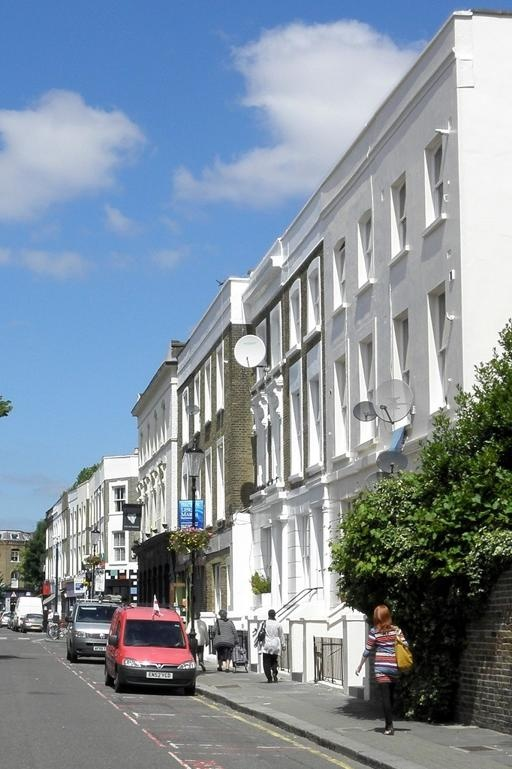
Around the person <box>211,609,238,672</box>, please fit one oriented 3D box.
[{"bbox_3d":[-0.696,5.839,25.392,0.553,1.312,2.168,-2,-16,-2],"label":"person"}]

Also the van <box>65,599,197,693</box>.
[{"bbox_3d":[-1.930,4.800,20.242,1.543,1.743,2.379,-1,-15,-8],"label":"van"}]

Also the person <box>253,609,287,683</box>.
[{"bbox_3d":[0.271,4.980,21.465,0.459,1.524,0.410,3,15,10],"label":"person"}]

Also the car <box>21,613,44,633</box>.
[{"bbox_3d":[-16.498,17.501,82.285,1.539,1.205,1.989,1,-16,-16],"label":"car"}]

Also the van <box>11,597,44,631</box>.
[{"bbox_3d":[-17.047,17.241,83.522,1.694,2.546,4.175,1,-3,-12],"label":"van"}]

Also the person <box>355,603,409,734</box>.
[{"bbox_3d":[1.541,3.285,13.147,0.537,1.613,0.491,-1,11,16],"label":"person"}]
